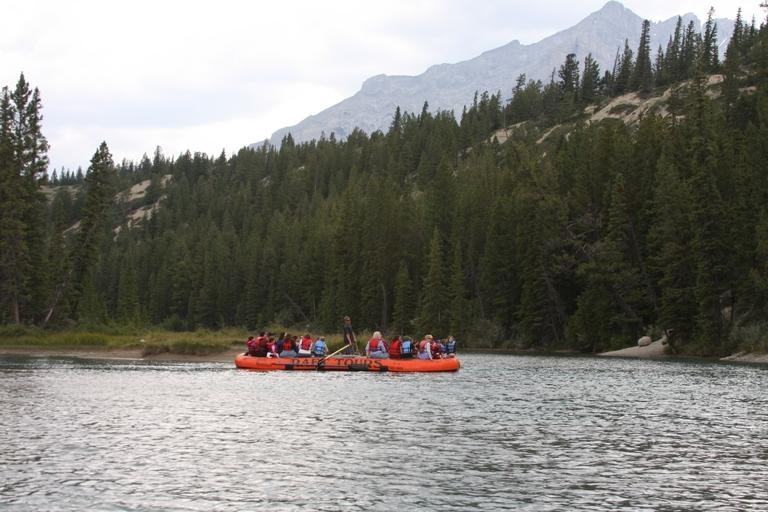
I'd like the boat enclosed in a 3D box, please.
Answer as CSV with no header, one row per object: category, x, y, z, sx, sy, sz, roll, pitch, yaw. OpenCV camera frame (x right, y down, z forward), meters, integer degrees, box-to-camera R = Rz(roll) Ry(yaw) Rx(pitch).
boat,-3.791,10.707,103.538,20.714,1.542,4.244,-1,-6,12
